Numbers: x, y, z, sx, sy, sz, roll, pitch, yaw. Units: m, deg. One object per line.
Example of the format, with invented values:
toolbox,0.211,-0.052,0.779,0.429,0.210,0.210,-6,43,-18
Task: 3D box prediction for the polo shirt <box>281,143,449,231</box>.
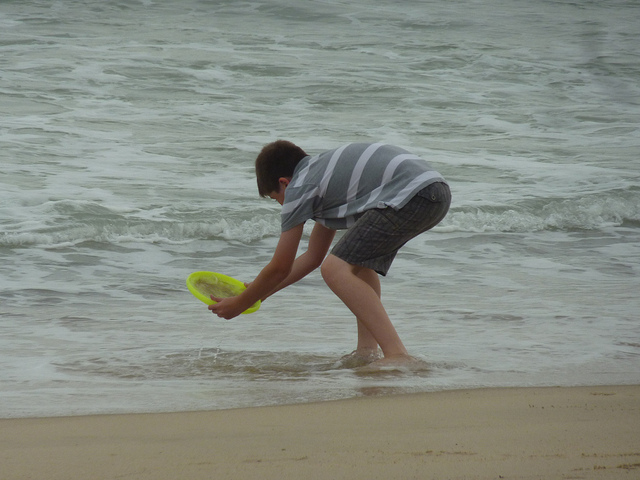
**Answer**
polo shirt,0.386,-0.515,10.881,1.450,0.840,0.482,3,19,-3
